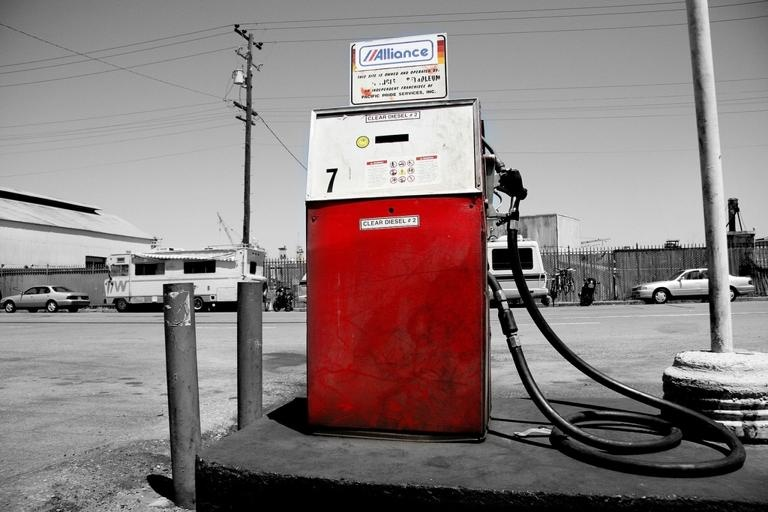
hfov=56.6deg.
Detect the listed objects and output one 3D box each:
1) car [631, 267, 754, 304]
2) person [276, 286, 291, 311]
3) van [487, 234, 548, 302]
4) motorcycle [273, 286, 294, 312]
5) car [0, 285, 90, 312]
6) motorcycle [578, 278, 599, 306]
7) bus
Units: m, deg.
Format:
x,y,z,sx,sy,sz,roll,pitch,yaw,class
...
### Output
x,y,z,sx,sy,sz,roll,pitch,yaw,class
9.059,0.903,21.105,3.511,1.112,1.496,1,-3,10,car
-3.671,1.566,25.925,0.647,0.813,0.673,-1,-2,-1,person
4.197,0.408,21.447,2.115,1.757,3.365,0,-4,4,van
-3.714,1.606,26.049,0.781,1.342,0.738,1,-25,-4,motorcycle
-14.428,1.835,30.296,3.286,1.041,1.492,2,-2,17,car
7.229,1.401,25.316,0.525,0.694,1.253,14,-15,16,motorcycle
-7.457,0.875,26.776,6.112,2.386,2.364,-2,-3,25,bus
